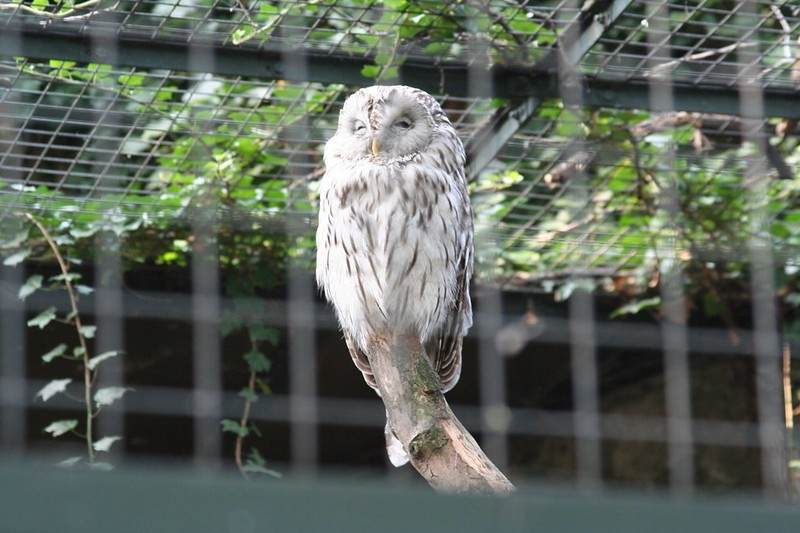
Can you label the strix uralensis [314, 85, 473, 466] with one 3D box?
[{"bbox_3d":[-0.023,-0.127,8.400,0.808,1.573,0.719,0,10,-4],"label":"strix uralensis"}]
